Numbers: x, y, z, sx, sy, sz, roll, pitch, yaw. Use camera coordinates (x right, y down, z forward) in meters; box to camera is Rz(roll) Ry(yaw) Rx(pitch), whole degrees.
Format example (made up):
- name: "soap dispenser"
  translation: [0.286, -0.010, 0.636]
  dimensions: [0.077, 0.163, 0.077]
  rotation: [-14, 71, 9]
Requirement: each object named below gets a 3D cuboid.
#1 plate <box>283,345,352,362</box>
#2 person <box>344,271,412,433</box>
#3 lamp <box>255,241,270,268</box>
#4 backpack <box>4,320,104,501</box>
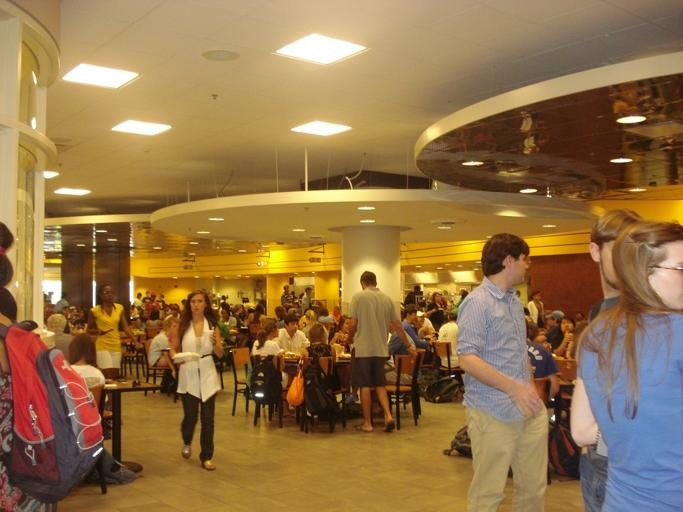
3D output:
- name: "plate"
  translation: [-0.409, 1.571, 8.297]
  dimensions: [0.660, 0.127, 0.606]
  rotation: [-1, -1, 6]
- name: "person"
  translation: [0.568, 1.431, 7.823]
  dimensions: [1.033, 2.276, 0.786]
  rotation: [3, -11, -18]
- name: "lamp"
  translation: [-4.282, 0.085, 28.359]
  dimensions: [0.744, 1.070, 2.984]
  rotation: [0, -5, -9]
- name: "backpack"
  translation: [-1.203, 0.648, 2.131]
  dimensions: [0.384, 0.745, 0.171]
  rotation: [-1, -4, 2]
